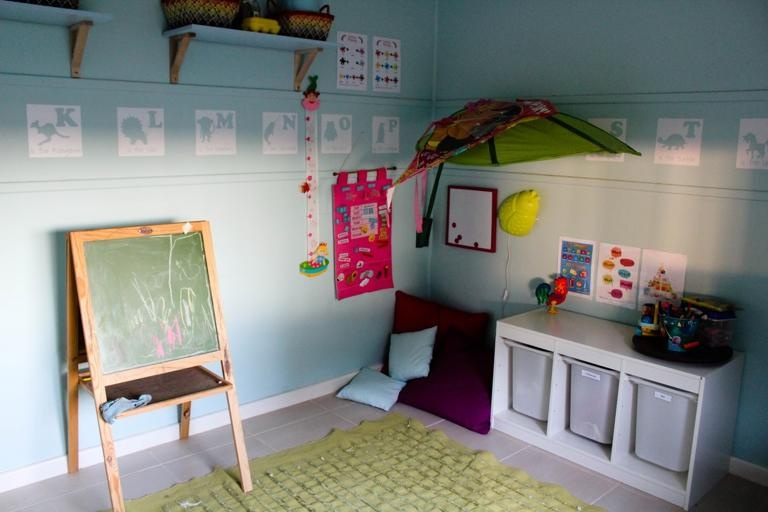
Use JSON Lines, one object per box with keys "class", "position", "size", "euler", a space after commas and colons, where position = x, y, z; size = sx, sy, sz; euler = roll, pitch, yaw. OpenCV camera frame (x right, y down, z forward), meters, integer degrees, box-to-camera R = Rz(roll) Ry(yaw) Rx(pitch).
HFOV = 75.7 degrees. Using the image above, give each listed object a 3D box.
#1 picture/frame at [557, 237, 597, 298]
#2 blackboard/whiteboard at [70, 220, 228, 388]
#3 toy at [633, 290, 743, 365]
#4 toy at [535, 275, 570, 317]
{"class": "picture/frame", "position": [1.376, 0.088, 3.502], "size": [0.300, 0.414, 0.007], "euler": [34, 32, 33]}
{"class": "blackboard/whiteboard", "position": [-1.353, 0.295, 2.805], "size": [0.971, 0.941, 0.107], "euler": [-6, -8, -36]}
{"class": "toy", "position": [1.779, 0.433, 2.946], "size": [0.500, 0.323, 0.484], "euler": [6, 13, 34]}
{"class": "toy", "position": [1.221, 0.288, 3.555], "size": [0.279, 0.309, 0.140], "euler": [6, 0, 27]}
